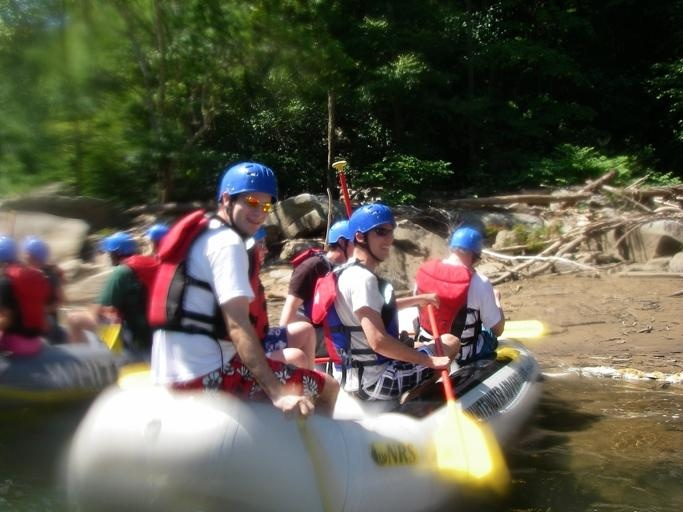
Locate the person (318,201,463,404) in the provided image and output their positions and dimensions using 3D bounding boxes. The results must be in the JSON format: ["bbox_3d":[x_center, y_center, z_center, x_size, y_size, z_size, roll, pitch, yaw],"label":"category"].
[{"bbox_3d":[0.435,0.558,5.583,1.035,1.972,1.220,1,3,35],"label":"person"}]

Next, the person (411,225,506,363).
[{"bbox_3d":[1.304,0.430,7.387,0.866,1.533,1.052,16,37,33],"label":"person"}]

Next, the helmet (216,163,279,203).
[{"bbox_3d":[-0.648,-0.519,4.662,0.305,0.189,0.289,8,-3,-38],"label":"helmet"}]

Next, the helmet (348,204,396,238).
[{"bbox_3d":[0.249,-0.272,5.394,0.302,0.204,0.264,6,19,11],"label":"helmet"}]
